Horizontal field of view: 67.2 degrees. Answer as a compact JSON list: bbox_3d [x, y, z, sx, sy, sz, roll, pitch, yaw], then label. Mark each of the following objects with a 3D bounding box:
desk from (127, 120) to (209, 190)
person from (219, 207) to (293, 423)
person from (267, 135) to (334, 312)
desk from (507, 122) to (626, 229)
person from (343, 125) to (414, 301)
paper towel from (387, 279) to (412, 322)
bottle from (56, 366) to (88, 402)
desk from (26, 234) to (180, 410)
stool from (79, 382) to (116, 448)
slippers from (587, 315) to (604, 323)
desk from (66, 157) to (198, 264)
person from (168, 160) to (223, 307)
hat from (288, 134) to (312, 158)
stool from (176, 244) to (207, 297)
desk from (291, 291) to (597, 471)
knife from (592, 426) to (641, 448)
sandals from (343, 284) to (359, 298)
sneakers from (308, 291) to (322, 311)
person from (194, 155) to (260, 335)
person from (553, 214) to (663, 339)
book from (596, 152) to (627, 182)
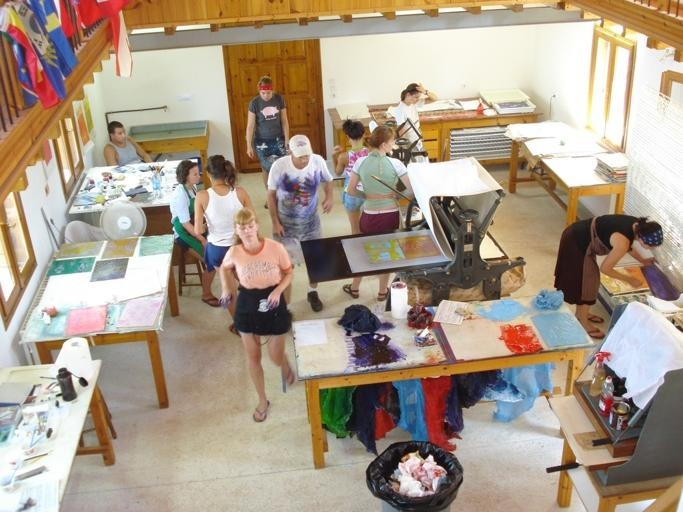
[{"bbox_3d":[-3.209,-1.908,9.599,1.492,0.928,1.009,-10,28,-15],"label":"desk"},{"bbox_3d":[-0.777,0.598,4.954,0.697,2.219,0.431,-8,24,-7],"label":"person"},{"bbox_3d":[-0.482,-0.355,6.313,0.775,2.368,0.672,-1,32,-5],"label":"person"},{"bbox_3d":[3.463,-1.242,7.848,0.740,0.935,1.906,-5,41,-1],"label":"desk"},{"bbox_3d":[0.430,-0.400,6.167,0.814,2.261,1.153,-9,24,-9],"label":"person"},{"bbox_3d":[0.550,0.430,4.853,0.214,0.356,0.198,-25,37,-31],"label":"paper towel"},{"bbox_3d":[-2.252,1.025,4.235,0.158,0.279,0.218,2,25,16],"label":"bottle"},{"bbox_3d":[-2.627,0.689,5.957,1.345,1.043,2.085,-3,29,-13],"label":"desk"},{"bbox_3d":[-2.416,1.510,5.004,0.418,0.349,0.410,1,6,-41],"label":"stool"},{"bbox_3d":[3.054,0.764,6.185,0.196,0.049,0.076,-10,33,-5],"label":"slippers"},{"bbox_3d":[-3.046,-0.819,7.844,1.645,1.036,1.674,-3,49,1],"label":"desk"},{"bbox_3d":[-1.691,-0.218,6.591,0.681,2.129,0.642,7,29,2],"label":"person"},{"bbox_3d":[-0.472,-1.245,5.797,0.232,0.250,0.274,-7,24,-4],"label":"hat"},{"bbox_3d":[-2.120,0.204,7.189,0.350,0.525,0.359,-6,12,0],"label":"stool"},{"bbox_3d":[0.694,1.189,5.541,3.559,1.665,1.255,-7,51,-5],"label":"desk"},{"bbox_3d":[1.955,1.269,3.583,0.192,0.047,0.181,-5,29,16],"label":"knife"},{"bbox_3d":[0.120,0.439,6.907,0.102,0.105,0.262,-13,35,-25],"label":"sandals"},{"bbox_3d":[-0.354,0.599,6.658,0.119,0.130,0.304,-10,40,-13],"label":"sneakers"},{"bbox_3d":[-1.329,-0.098,5.882,0.683,1.976,0.638,-9,15,-22],"label":"person"},{"bbox_3d":[2.901,0.172,5.680,0.977,1.454,0.686,17,35,33],"label":"person"},{"bbox_3d":[3.747,-1.278,7.149,0.345,0.154,0.457,-5,28,-2],"label":"book"}]
